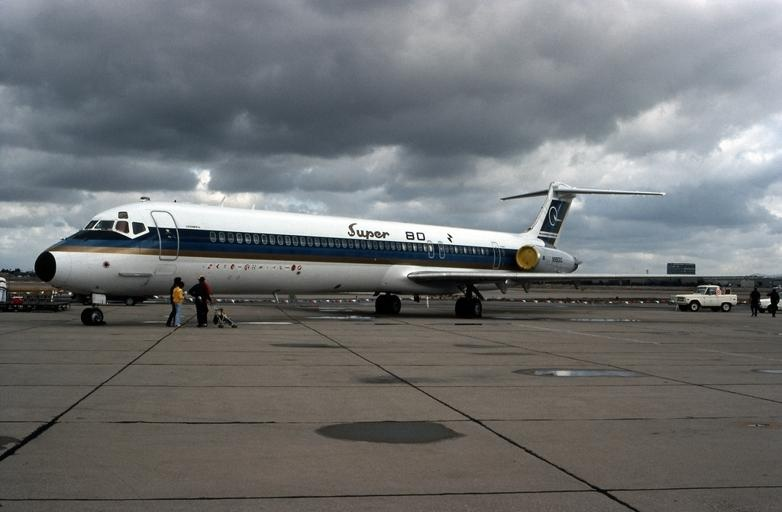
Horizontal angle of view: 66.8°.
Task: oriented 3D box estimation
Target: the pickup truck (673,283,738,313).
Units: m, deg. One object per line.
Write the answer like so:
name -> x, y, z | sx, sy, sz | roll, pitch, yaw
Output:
pickup truck -> 20.480, 2.819, 38.978 | 3.668, 1.434, 1.997 | 2, -5, -9

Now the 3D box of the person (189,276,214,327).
person -> -6.296, 1.508, 19.653 | 0.714, 1.097, 1.097 | 2, -1, -17
